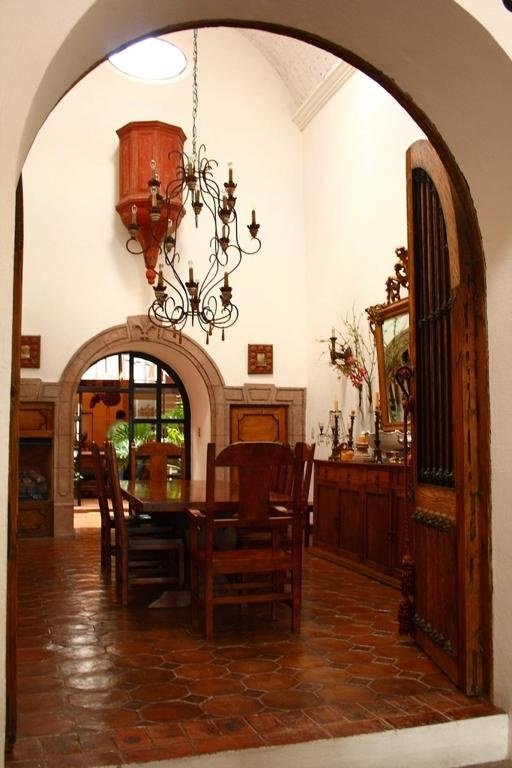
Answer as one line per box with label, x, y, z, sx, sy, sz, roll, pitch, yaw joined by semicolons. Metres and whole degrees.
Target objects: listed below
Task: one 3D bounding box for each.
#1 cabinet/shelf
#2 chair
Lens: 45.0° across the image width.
cabinet/shelf;1.124;1.220;5.695;0.516;1.028;1.598;4;-4;-29
chair;-0.237;0.974;4.229;1.528;1.228;2.045;0;-2;-14
